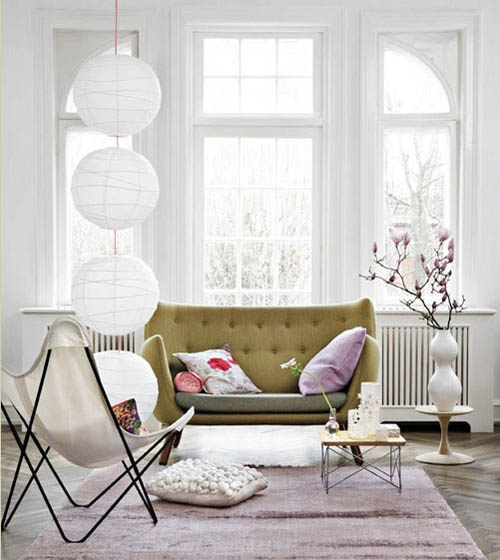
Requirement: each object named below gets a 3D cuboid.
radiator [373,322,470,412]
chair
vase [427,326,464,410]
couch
[{"bbox_3d":[1.122,0.550,3.965,0.489,0.584,0.038,0,0,1],"label":"radiator"},{"bbox_3d":[-0.649,0.653,2.682,0.610,1.096,0.909,-7,-11,29],"label":"chair"},{"bbox_3d":[1.103,0.513,3.496,0.177,0.449,0.182,0,-1,10],"label":"vase"},{"bbox_3d":[0.079,0.527,3.578,1.309,0.995,0.726,0,-6,5],"label":"couch"}]
